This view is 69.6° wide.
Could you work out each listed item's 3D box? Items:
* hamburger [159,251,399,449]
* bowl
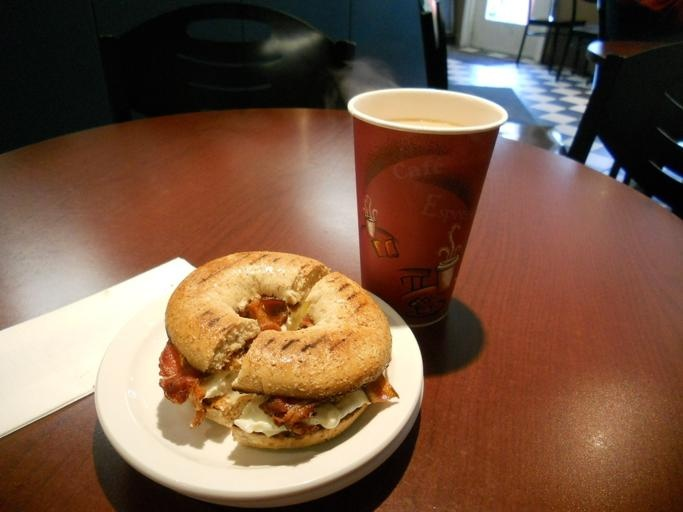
[{"bbox_3d":[-0.087,0.117,0.641,0.234,0.094,0.251,12,33,-8],"label":"hamburger"},{"bbox_3d":[-0.104,0.170,0.635,0.418,0.067,0.274,2,37,1],"label":"bowl"}]
